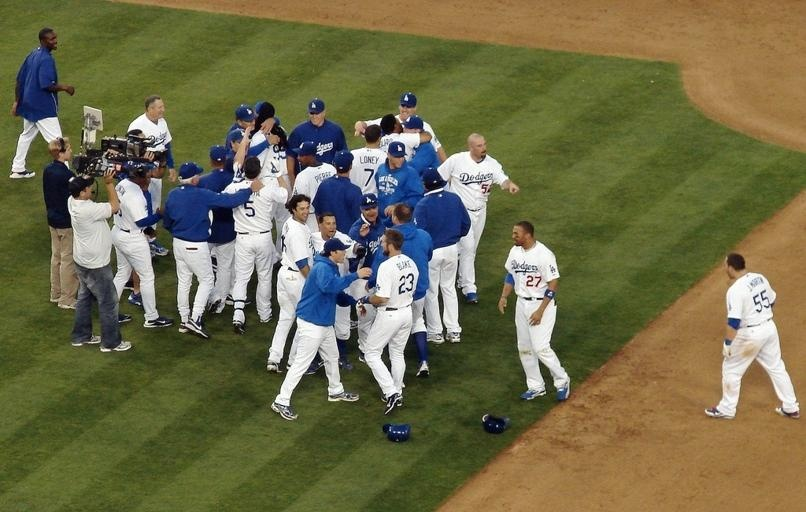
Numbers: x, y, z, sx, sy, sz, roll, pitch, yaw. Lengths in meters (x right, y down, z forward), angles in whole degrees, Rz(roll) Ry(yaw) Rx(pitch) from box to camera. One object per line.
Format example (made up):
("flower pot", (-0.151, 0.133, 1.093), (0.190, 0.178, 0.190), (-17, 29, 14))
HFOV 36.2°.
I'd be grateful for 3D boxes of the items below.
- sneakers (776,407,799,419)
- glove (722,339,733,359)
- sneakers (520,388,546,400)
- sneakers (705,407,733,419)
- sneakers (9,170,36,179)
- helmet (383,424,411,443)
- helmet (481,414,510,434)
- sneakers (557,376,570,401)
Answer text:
("sneakers", (6.685, 2.747, 21.316), (0.414, 0.168, 0.144), (11, 11, 21))
("glove", (5.588, 1.595, 21.147), (0.135, 0.375, 0.117), (7, 30, 15))
("sneakers", (2.299, 2.467, 21.809), (0.448, 0.156, 0.174), (-4, 9, -21))
("sneakers", (5.454, 2.743, 21.415), (0.522, 0.181, 0.175), (6, 14, 14))
("sneakers", (-8.201, -1.768, 26.538), (0.583, 0.188, 0.188), (-3, 24, -13))
("helmet", (-0.110, 3.031, 21.067), (0.477, 0.242, 0.287), (0, 26, 1))
("helmet", (1.585, 2.901, 21.251), (0.468, 0.245, 0.277), (1, 27, 4))
("sneakers", (2.818, 2.357, 21.794), (0.172, 0.415, 0.214), (2, -22, 43))
